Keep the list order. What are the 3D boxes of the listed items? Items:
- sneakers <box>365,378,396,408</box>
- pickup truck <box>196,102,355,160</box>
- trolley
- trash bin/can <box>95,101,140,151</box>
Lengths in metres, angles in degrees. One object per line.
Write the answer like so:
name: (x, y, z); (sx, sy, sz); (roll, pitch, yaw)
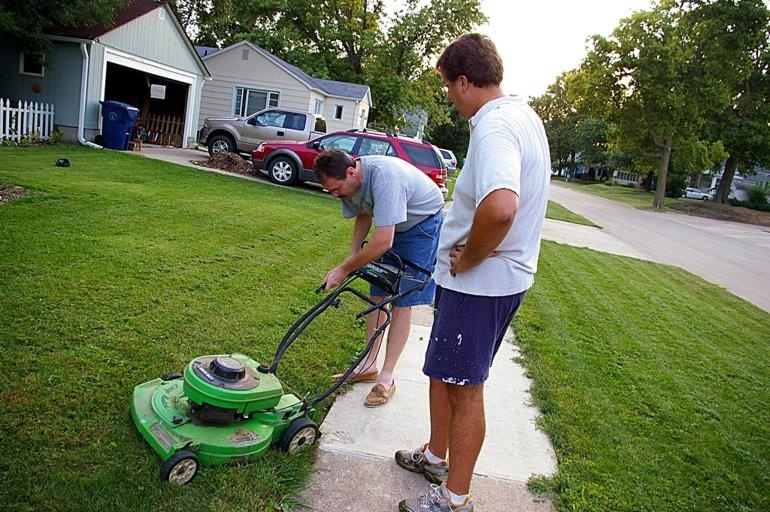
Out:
sneakers: (-0.043, 1.289, 4.493); (0.137, 0.105, 0.309); (-1, 3, 25)
pickup truck: (-4.259, -4.347, 16.817); (4.119, 1.558, 1.880); (7, 13, -2)
trolley: (-0.731, 0.557, 4.251); (2.597, 1.484, 1.188); (-8, 36, -47)
trash bin/can: (-8.138, -3.901, 14.594); (1.079, 1.354, 0.597); (13, 12, 19)
